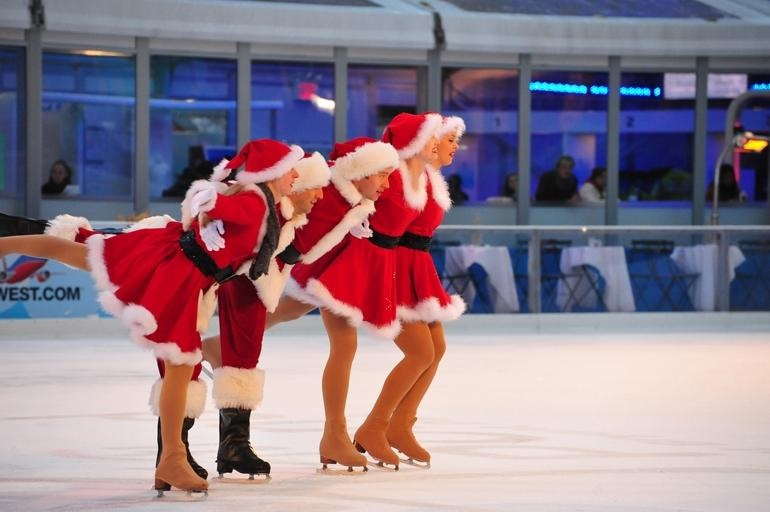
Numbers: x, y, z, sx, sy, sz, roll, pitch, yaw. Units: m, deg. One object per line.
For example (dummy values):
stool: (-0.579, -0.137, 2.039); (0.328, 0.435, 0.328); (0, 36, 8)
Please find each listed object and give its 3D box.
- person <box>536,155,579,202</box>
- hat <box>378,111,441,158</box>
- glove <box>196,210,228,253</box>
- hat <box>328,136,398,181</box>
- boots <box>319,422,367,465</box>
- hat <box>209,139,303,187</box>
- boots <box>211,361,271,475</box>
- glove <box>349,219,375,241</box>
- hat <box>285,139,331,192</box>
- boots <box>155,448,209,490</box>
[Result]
person: (2.623, -1.073, 22.125); (0.685, 0.813, 0.467); (1, 14, -11)
hat: (0.421, -1.182, 14.938); (0.639, 0.315, 0.468); (-1, -29, -21)
glove: (-1.610, -0.224, 13.907); (0.219, 0.343, 0.096); (-14, 4, -3)
hat: (-0.189, -0.946, 14.490); (0.565, 0.319, 0.407); (-6, 2, -3)
boots: (-0.376, 1.804, 14.405); (0.558, 0.471, 0.205); (5, 4, 35)
hat: (-1.224, -0.963, 14.174); (0.654, 0.270, 0.478); (-20, 13, 0)
boots: (-1.367, 1.584, 14.274); (0.530, 1.060, 0.256); (-1, 4, -4)
glove: (-0.216, -0.247, 14.494); (0.213, 0.153, 0.077); (20, 28, 3)
hat: (-0.671, -0.823, 14.235); (0.419, 0.287, 0.306); (-17, 4, 13)
boots: (-1.913, 1.958, 14.006); (0.637, 0.480, 0.238); (-8, -12, 39)
